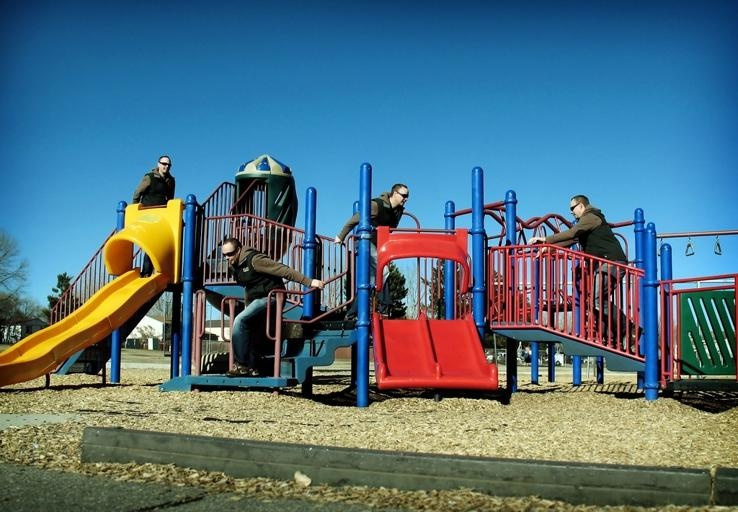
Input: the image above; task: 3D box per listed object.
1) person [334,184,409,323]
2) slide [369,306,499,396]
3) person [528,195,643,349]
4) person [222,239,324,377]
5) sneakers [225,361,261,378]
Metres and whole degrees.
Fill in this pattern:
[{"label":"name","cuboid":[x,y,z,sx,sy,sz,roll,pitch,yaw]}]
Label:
[{"label":"person","cuboid":[0.053,-0.098,11.067,0.965,1.880,1.552,-1,-6,0]},{"label":"slide","cuboid":[0.778,1.225,10.277,1.795,0.502,1.873,7,17,12]},{"label":"person","cuboid":[3.166,0.186,11.131,1.200,2.255,0.951,-5,-7,34]},{"label":"person","cuboid":[-1.504,0.659,10.600,0.800,1.845,1.167,3,-8,-35]},{"label":"sneakers","cuboid":[-1.705,1.502,10.637,0.457,0.204,0.171,4,0,9]}]
